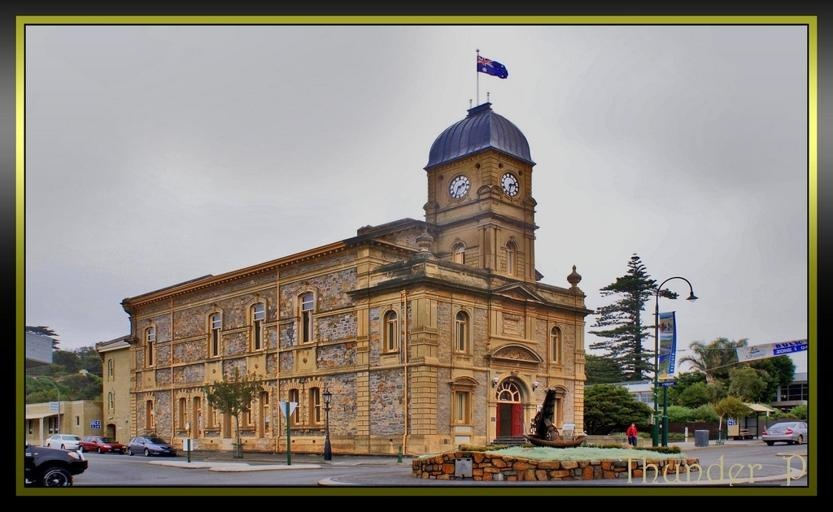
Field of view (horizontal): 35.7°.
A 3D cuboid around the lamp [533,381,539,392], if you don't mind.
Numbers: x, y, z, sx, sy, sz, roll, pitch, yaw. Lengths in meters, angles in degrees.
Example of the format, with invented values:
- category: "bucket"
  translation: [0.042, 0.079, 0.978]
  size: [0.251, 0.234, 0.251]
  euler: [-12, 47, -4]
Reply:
- category: "lamp"
  translation: [6.311, 6.777, 68.190]
  size: [0.206, 0.478, 0.714]
  euler: [5, -1, 26]

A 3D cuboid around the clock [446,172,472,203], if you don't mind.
- category: "clock"
  translation: [2.383, -3.872, 71.936]
  size: [0.309, 1.338, 1.696]
  euler: [6, -1, -36]

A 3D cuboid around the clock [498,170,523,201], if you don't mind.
- category: "clock"
  translation: [5.207, -3.937, 71.433]
  size: [1.435, 1.316, 0.157]
  euler: [5, -1, -42]

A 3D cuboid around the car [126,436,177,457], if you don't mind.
- category: "car"
  translation: [-14.216, 10.124, 69.499]
  size: [1.237, 0.776, 2.716]
  euler: [9, -16, -40]

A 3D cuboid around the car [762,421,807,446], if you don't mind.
- category: "car"
  translation: [20.019, 9.446, 69.704]
  size: [2.429, 1.210, 1.750]
  euler: [4, -1, 33]

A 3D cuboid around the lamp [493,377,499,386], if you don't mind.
- category: "lamp"
  translation: [4.031, 6.353, 65.933]
  size: [0.092, 0.469, 0.412]
  euler: [4, -1, 39]

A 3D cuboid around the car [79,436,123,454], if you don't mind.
- category: "car"
  translation: [-18.432, 10.917, 75.398]
  size: [2.382, 0.630, 1.086]
  euler: [-10, -13, 41]
